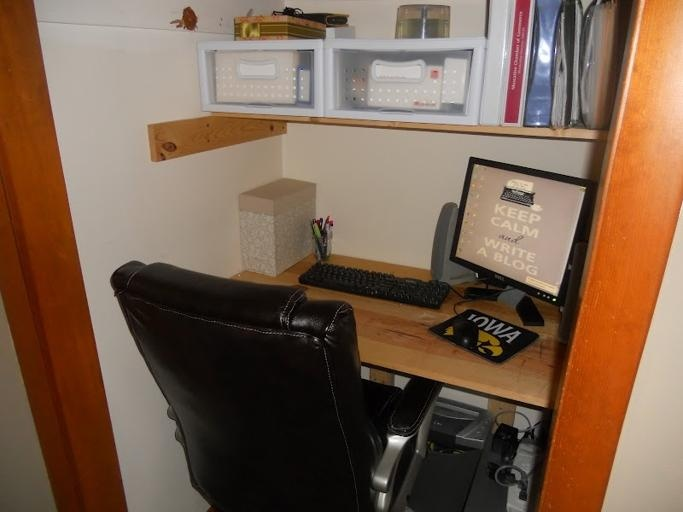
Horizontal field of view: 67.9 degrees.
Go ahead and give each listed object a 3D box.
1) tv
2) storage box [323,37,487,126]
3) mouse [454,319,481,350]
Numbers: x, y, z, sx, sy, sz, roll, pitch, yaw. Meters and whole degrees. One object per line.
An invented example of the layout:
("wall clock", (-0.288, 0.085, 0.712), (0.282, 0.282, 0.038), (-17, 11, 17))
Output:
("tv", (0.645, -0.053, 1.792), (0.177, 0.453, 0.453), (3, 26, -48))
("storage box", (0.197, -0.571, 1.647), (0.520, 0.256, 0.087), (10, 22, 20))
("mouse", (0.425, 0.263, 1.718), (0.067, 0.078, 0.129), (-6, 7, 14))
